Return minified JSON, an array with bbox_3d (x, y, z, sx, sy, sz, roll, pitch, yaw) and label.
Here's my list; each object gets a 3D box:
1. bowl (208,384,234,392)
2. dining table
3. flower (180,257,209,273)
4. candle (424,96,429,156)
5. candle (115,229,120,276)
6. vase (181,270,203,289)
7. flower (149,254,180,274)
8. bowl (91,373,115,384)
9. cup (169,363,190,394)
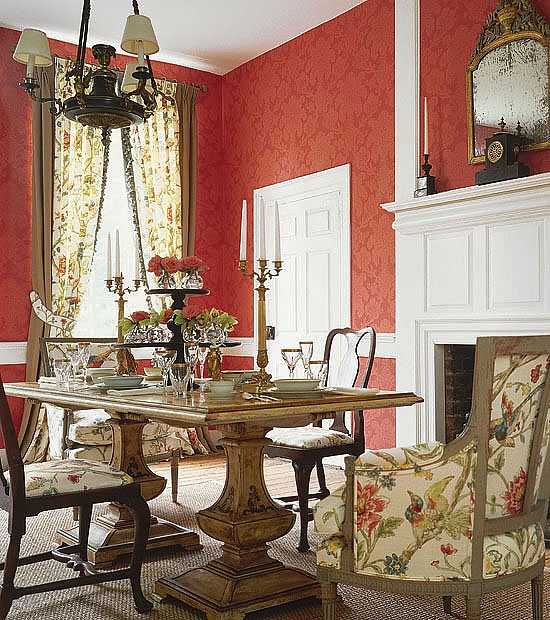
[{"bbox_3d":[-0.169,0.253,1.914,0.073,0.033,0.067,0,0,0],"label":"bowl"},{"bbox_3d":[-0.275,0.699,2.261,0.597,0.472,1.068,5,-9,-41],"label":"dining table"},{"bbox_3d":[-0.381,-0.200,2.720,0.129,0.052,0.124,1,-4,-37],"label":"flower"},{"bbox_3d":[1.008,-1.227,3.968,0.031,0.383,0.056,0,0,-1],"label":"candle"},{"bbox_3d":[-1.019,-0.368,3.907,0.020,0.306,0.304,0,0,-16],"label":"candle"},{"bbox_3d":[-0.388,-0.139,2.709,0.095,0.113,0.089,4,7,30],"label":"vase"},{"bbox_3d":[-0.489,-0.198,2.675,0.146,0.090,0.140,0,0,9],"label":"flower"},{"bbox_3d":[-0.734,0.296,2.548,0.114,0.033,0.079,1,0,17],"label":"bowl"},{"bbox_3d":[-0.322,0.236,2.043,0.067,0.113,0.168,0,0,-10],"label":"cup"}]
